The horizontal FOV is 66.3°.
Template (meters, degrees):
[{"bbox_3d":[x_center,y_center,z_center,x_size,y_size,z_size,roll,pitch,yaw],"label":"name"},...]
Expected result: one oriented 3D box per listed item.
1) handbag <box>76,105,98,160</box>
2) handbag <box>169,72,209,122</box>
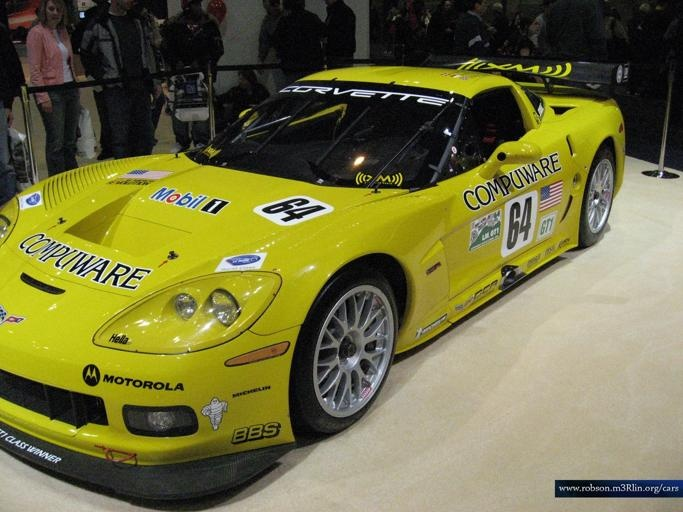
[{"bbox_3d":[-2.947,-1.417,6.004,0.212,0.516,0.558,-3,-10,-15],"label":"handbag"},{"bbox_3d":[-1.879,-1.949,6.444,0.395,0.574,0.237,-6,9,3],"label":"handbag"}]
